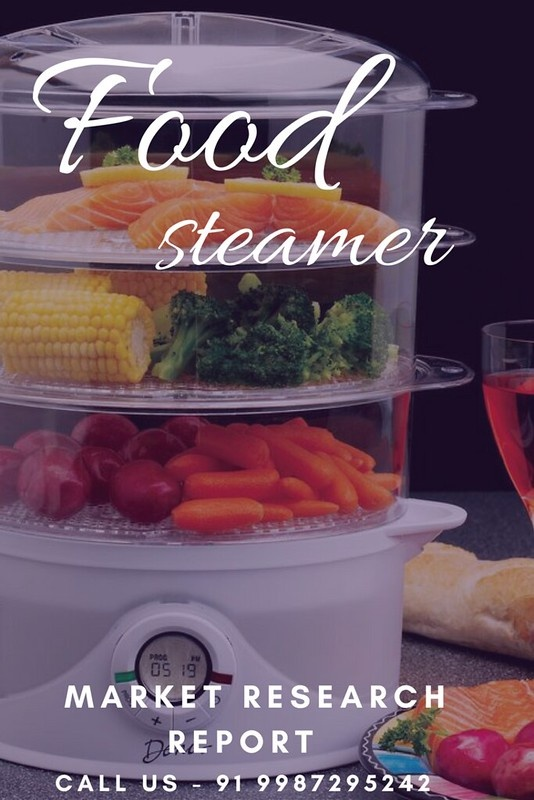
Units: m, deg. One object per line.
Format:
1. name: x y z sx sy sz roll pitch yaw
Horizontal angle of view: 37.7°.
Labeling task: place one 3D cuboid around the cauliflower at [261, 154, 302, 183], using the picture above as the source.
1. cauliflower: 0.020 -0.305 1.056 0.048 0.036 0.044 -3 37 -4

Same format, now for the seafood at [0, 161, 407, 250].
1. seafood: -0.103 -0.265 1.072 0.545 0.106 0.170 2 14 9

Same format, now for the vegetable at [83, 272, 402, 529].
1. vegetable: -0.064 0.002 1.225 0.440 0.278 0.367 1 2 34
